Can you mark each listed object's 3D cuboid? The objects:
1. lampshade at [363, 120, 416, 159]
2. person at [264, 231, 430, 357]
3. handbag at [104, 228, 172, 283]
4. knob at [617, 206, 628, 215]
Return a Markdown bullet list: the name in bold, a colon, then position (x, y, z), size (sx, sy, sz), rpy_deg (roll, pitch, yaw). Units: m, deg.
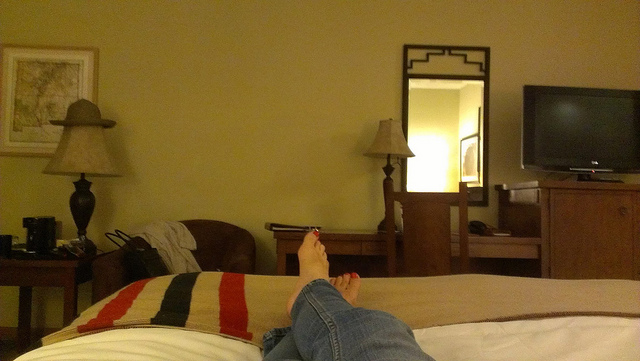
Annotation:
- **lampshade**: position (0.670, -0.411, 5.309), size (0.532, 0.330, 0.506), rpy_deg (-2, 7, -24)
- **person**: position (0.071, 0.742, 3.458), size (0.857, 0.560, 0.922), rpy_deg (2, 0, -22)
- **handbag**: position (-1.619, 0.577, 4.735), size (0.458, 0.245, 0.298), rpy_deg (14, -22, -25)
- **knob**: position (2.714, 0.260, 4.892), size (0.089, 0.075, 0.027), rpy_deg (2, 1, -11)
